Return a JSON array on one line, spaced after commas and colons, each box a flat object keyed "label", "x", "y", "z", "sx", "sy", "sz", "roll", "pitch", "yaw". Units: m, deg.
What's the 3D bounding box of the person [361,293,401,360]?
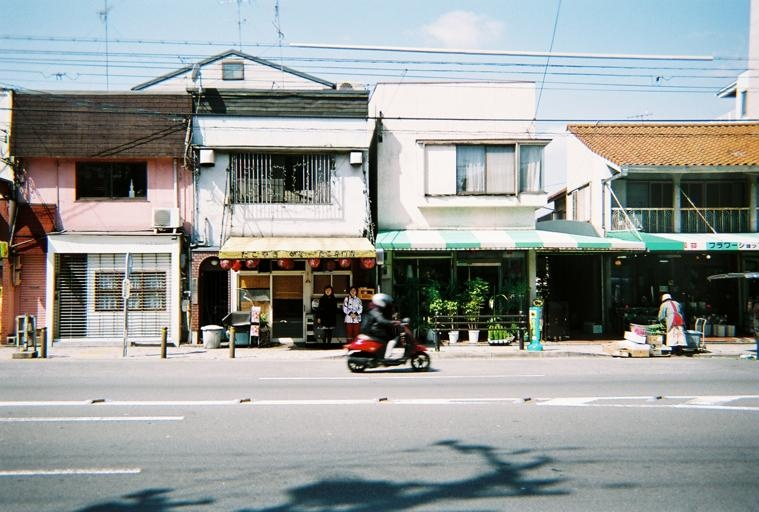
[{"label": "person", "x": 0.055, "y": 2.440, "z": 39.389, "sx": 1.184, "sy": 2.128, "sz": 0.721, "roll": 0, "pitch": -6, "yaw": -16}]

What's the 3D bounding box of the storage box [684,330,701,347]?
[{"label": "storage box", "x": 11.650, "y": 3.144, "z": 44.055, "sx": 0.576, "sy": 0.249, "sz": 0.714, "roll": 1, "pitch": 8, "yaw": 15}]

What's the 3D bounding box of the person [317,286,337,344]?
[{"label": "person", "x": -1.954, "y": 2.381, "z": 45.625, "sx": 0.706, "sy": 2.165, "sz": 0.700, "roll": -2, "pitch": -5, "yaw": 3}]

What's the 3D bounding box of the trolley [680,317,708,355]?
[{"label": "trolley", "x": 11.807, "y": 3.113, "z": 44.402, "sx": 0.997, "sy": 1.011, "sz": 0.635, "roll": 2, "pitch": -4, "yaw": 29}]

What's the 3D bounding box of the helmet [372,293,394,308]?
[{"label": "helmet", "x": 0.141, "y": 1.559, "z": 39.375, "sx": 0.576, "sy": 0.386, "sz": 0.409, "roll": -1, "pitch": 1, "yaw": -11}]

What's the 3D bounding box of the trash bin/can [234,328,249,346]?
[{"label": "trash bin/can", "x": -5.239, "y": 3.212, "z": 45.967, "sx": 0.618, "sy": 0.548, "sz": 0.596, "roll": 0, "pitch": -2, "yaw": -5}]

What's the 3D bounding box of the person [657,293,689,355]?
[{"label": "person", "x": 10.810, "y": 2.582, "z": 43.654, "sx": 0.898, "sy": 2.178, "sz": 1.026, "roll": -3, "pitch": -6, "yaw": 15}]

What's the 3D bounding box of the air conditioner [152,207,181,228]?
[{"label": "air conditioner", "x": -8.255, "y": -1.311, "z": 46.486, "sx": 1.283, "sy": 0.893, "sz": 0.669, "roll": 0, "pitch": -8, "yaw": -4}]

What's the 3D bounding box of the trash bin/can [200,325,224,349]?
[{"label": "trash bin/can", "x": -6.327, "y": 3.200, "z": 45.531, "sx": 0.861, "sy": 0.688, "sz": 0.829, "roll": 1, "pitch": -7, "yaw": -3}]

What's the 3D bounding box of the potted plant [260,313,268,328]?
[{"label": "potted plant", "x": -4.422, "y": 2.587, "z": 46.303, "sx": 0.310, "sy": 0.630, "sz": 0.793, "roll": -1, "pitch": -5, "yaw": -5}]
